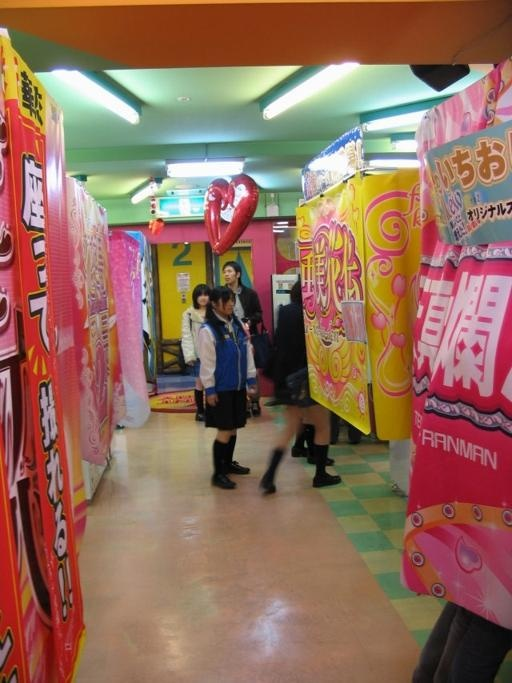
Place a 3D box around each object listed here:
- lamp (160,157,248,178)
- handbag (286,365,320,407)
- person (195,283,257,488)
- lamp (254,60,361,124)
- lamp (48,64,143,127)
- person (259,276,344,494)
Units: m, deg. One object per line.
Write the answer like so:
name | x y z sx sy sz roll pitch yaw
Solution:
lamp | -0.690 -2.358 6.303 1.021 0.131 0.546 -4 3 -9
handbag | 0.316 0.301 3.138 0.199 0.319 0.165 -13 5 6
person | -0.225 0.357 3.747 0.343 1.602 0.575 -1 3 24
lamp | 0.399 -2.291 4.167 0.196 0.312 1.347 -4 3 -31
lamp | -1.338 -2.197 4.060 0.250 0.285 1.163 -2 3 14
person | 0.293 0.340 3.462 0.532 1.610 0.667 -1 3 31
